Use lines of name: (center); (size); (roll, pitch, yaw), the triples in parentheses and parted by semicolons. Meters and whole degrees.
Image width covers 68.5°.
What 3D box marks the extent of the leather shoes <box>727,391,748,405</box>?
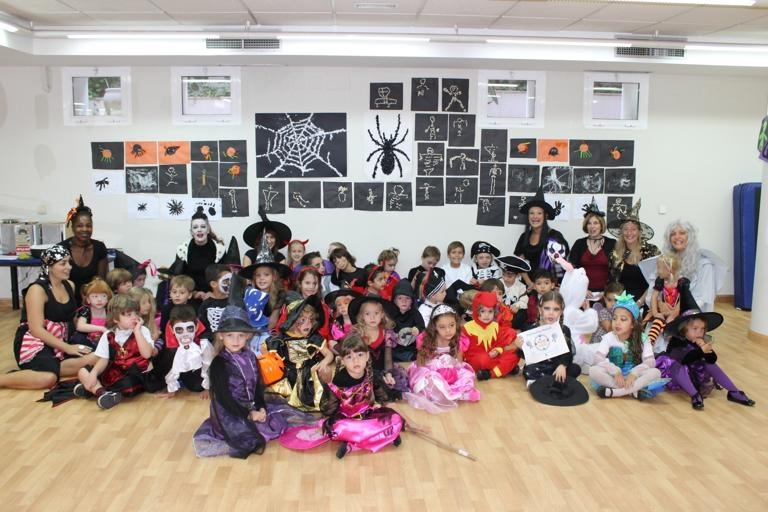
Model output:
leather shoes: (3.618, 1.454, 5.743); (0.233, 0.094, 0.077); (3, 7, 27)

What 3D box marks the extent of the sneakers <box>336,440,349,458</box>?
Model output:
sneakers: (-0.373, 1.734, 5.056); (0.112, 0.106, 0.165); (-1, 9, 0)

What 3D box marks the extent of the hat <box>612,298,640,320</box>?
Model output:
hat: (2.541, 0.538, 5.923); (0.212, 0.254, 0.146); (-22, -6, 5)

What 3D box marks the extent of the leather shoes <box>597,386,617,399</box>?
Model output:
leather shoes: (2.286, 1.417, 5.865); (0.122, 0.064, 0.155); (6, 2, 3)

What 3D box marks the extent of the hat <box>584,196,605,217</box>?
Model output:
hat: (3.036, -0.730, 8.180); (0.321, 0.342, 0.337); (-4, -16, 28)

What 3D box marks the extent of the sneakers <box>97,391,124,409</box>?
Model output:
sneakers: (-2.714, 1.443, 5.610); (0.122, 0.109, 0.265); (6, 0, 32)

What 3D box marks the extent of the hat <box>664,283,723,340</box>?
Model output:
hat: (3.397, 0.604, 6.250); (0.457, 0.446, 0.507); (-27, -40, 24)

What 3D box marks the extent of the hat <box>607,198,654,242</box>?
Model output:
hat: (3.440, -0.518, 7.950); (0.505, 0.506, 0.541); (7, -26, 13)

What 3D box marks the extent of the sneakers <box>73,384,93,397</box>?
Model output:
sneakers: (-3.054, 1.388, 5.769); (0.113, 0.085, 0.259); (3, -20, 11)

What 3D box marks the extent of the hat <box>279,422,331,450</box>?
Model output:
hat: (-0.732, 1.659, 5.125); (0.405, 0.059, 0.224); (-10, 31, -12)

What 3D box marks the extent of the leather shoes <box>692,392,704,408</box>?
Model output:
leather shoes: (3.159, 1.461, 5.693); (0.091, 0.057, 0.163); (-3, 21, 1)

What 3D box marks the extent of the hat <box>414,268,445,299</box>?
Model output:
hat: (0.569, 0.356, 7.510); (0.430, 0.439, 0.344); (6, -4, -8)

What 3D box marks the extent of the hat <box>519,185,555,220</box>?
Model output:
hat: (2.168, -0.753, 7.845); (0.455, 0.292, 0.489); (7, -25, 13)
